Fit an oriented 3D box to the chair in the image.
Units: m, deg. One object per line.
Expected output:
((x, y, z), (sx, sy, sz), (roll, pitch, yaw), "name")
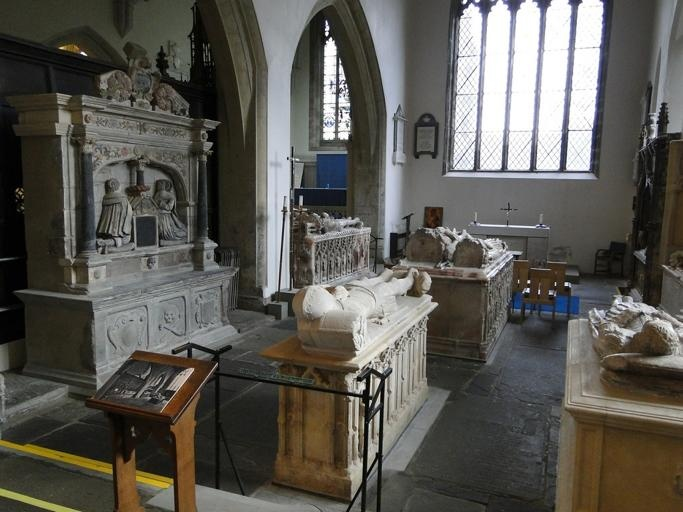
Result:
((3.234, 0.587, 8.424), (0.941, 0.867, 1.000), (3, 16, 23), "chair")

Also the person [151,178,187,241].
((-2.208, -0.584, 6.705), (0.149, 0.800, 0.494), (4, 10, 23), "person")

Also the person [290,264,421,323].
((0.175, 0.204, 4.410), (0.454, 0.316, 1.210), (14, 11, 34), "person")
